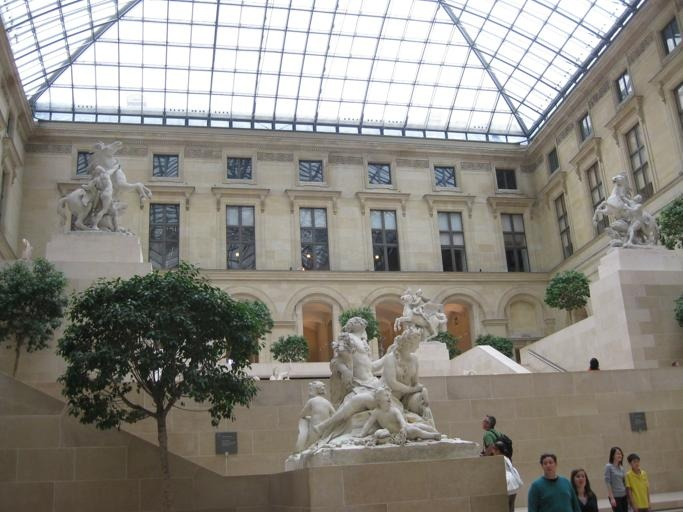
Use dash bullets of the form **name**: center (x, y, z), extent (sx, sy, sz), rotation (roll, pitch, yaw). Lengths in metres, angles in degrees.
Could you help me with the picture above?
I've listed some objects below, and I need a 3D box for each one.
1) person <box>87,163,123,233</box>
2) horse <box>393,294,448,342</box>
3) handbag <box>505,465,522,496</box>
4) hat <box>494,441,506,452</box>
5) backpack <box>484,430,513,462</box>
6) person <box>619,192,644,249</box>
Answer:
- **person**: center (-8.467, -2.139, 23.492), extent (0.990, 2.719, 0.683), rotation (8, -24, -23)
- **horse**: center (2.819, 2.202, 23.649), extent (1.938, 1.853, 0.779), rotation (8, -16, -9)
- **handbag**: center (3.481, 4.551, 13.351), extent (0.221, 0.533, 0.569), rotation (-13, -24, 26)
- **hat**: center (3.198, 3.913, 13.430), extent (0.177, 0.235, 0.232), rotation (12, 0, -1)
- **backpack**: center (3.334, 3.953, 13.723), extent (0.441, 0.622, 0.618), rotation (9, -40, -1)
- **person**: center (10.032, -1.220, 22.748), extent (0.859, 1.983, 0.553), rotation (-6, -22, 10)
